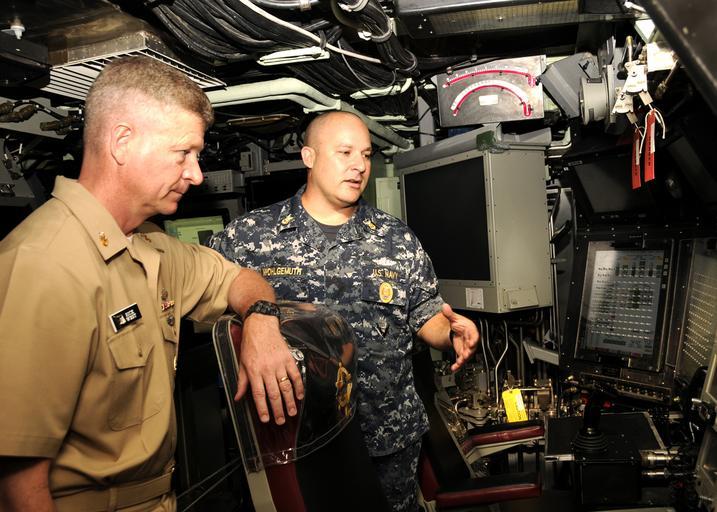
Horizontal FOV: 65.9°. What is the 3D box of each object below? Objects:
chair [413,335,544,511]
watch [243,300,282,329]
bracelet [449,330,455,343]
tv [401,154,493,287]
[{"bbox_3d":[0.593,0.982,3.131,0.841,0.957,0.702,-4,-2,6],"label":"chair"},{"bbox_3d":[-0.309,0.190,1.764,0.100,0.061,0.104,-7,-11,35],"label":"watch"},{"bbox_3d":[0.444,0.378,2.623,0.018,0.062,0.047,4,14,-4],"label":"bracelet"},{"bbox_3d":[0.672,-0.272,4.122,1.010,0.921,0.041,-16,11,-38],"label":"tv"}]
